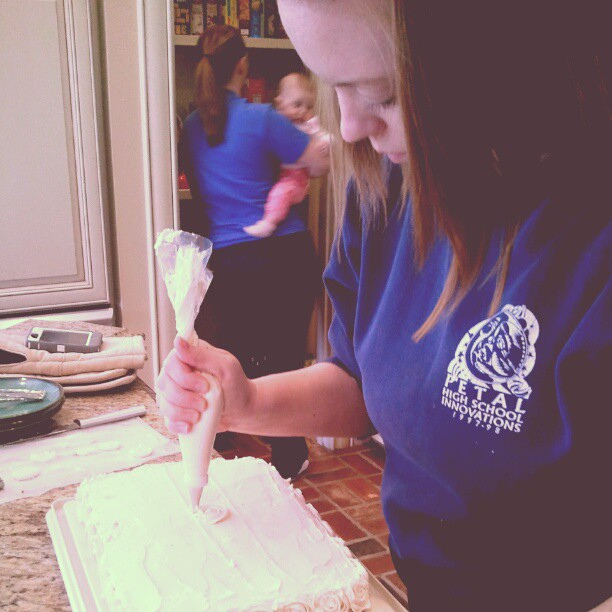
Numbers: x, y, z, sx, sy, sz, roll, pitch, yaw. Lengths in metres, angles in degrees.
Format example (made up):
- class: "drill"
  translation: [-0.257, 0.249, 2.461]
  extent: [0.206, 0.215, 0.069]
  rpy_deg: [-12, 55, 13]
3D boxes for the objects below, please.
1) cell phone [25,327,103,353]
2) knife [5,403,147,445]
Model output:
- class: "cell phone"
  translation: [-0.537, 0.068, 1.323]
  extent: [0.118, 0.031, 0.072]
  rpy_deg: [2, 21, -6]
- class: "knife"
  translation: [-0.425, 0.213, 1.096]
  extent: [0.217, 0.020, 0.031]
  rpy_deg: [-9, 35, -33]
